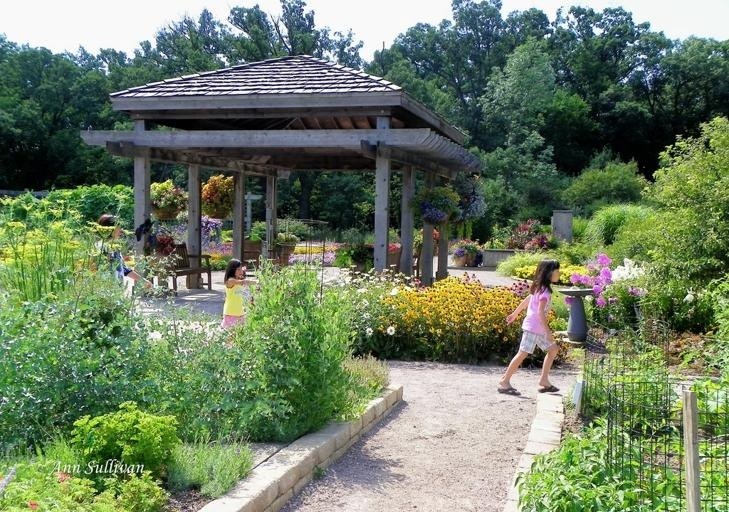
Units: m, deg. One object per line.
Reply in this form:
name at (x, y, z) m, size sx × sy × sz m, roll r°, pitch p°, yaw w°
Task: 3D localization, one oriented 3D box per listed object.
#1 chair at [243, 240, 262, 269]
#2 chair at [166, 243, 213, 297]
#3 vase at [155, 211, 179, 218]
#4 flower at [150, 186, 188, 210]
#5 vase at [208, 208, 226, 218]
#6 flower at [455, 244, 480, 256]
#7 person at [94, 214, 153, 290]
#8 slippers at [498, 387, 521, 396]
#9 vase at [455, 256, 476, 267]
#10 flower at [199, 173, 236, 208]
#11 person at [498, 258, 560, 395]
chair at (-2.468, -0.076, 13.638) m, size 0.400 × 0.661 × 0.644 m, roll 0°, pitch 2°, yaw 4°
chair at (-3.410, 0.226, 12.378) m, size 0.754 × 0.957 × 3.153 m, roll 2°, pitch 0°, yaw -14°
vase at (-4.809, -1.014, 15.049) m, size 0.392 × 0.173 × 0.413 m, roll -1°, pitch 0°, yaw -11°
flower at (-4.752, -1.427, 15.215) m, size 0.646 × 0.488 × 0.736 m, roll -4°, pitch -2°, yaw 17°
vase at (-3.890, -1.139, 16.518) m, size 0.291 × 0.232 × 0.308 m, roll 1°, pitch 8°, yaw -1°
flower at (3.413, -0.195, 20.761) m, size 0.466 × 0.287 × 0.488 m, roll 0°, pitch 3°, yaw 25°
person at (-2.570, -0.095, 6.560) m, size 0.435 × 0.726 × 2.012 m, roll 2°, pitch 0°, yaw -24°
slippers at (1.549, 1.451, 6.638) m, size 0.178 × 0.054 × 0.085 m, roll 1°, pitch 3°, yaw 32°
vase at (3.352, 0.199, 20.733) m, size 0.381 × 0.283 × 0.417 m, roll 0°, pitch -4°, yaw -9°
flower at (-3.878, -1.763, 16.549) m, size 0.967 × 1.046 × 0.883 m, roll -1°, pitch 15°, yaw 0°
person at (1.803, 0.760, 6.777) m, size 0.628 × 1.466 × 0.553 m, roll 2°, pitch 0°, yaw 18°
